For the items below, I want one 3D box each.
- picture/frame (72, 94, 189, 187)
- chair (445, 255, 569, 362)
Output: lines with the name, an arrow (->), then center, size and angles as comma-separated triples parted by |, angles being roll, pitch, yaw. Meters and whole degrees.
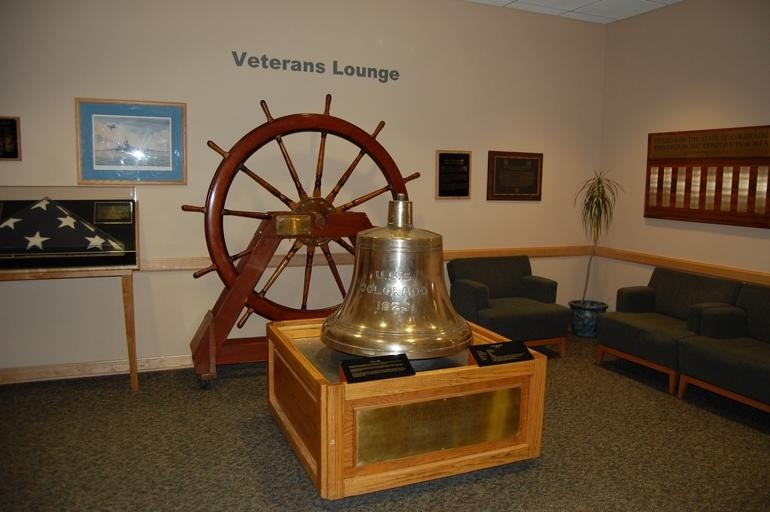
picture/frame -> -2.255, -1.012, 4.477 | 0.879, 0.706, 0.035 | -1, 8, -12
chair -> 1.221, 0.495, 5.196 | 1.047, 0.875, 0.894 | -3, 11, -20
